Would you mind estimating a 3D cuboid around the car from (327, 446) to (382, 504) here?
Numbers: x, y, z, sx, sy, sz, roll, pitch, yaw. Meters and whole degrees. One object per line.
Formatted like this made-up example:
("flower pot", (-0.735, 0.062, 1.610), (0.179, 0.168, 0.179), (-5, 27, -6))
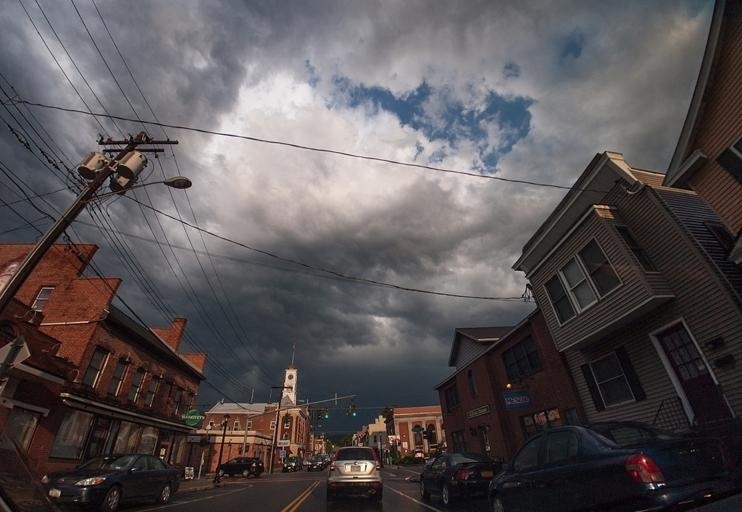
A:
("car", (-0.608, 8.672, 15.369), (1.499, 1.289, 2.722), (1, -28, 0))
